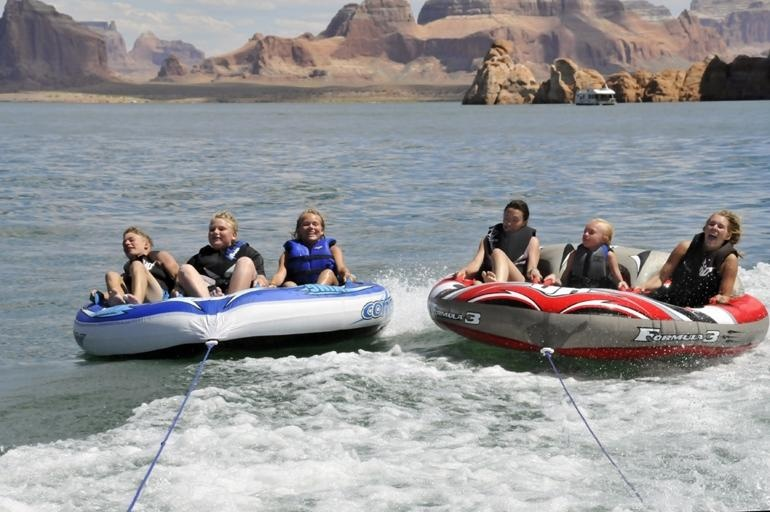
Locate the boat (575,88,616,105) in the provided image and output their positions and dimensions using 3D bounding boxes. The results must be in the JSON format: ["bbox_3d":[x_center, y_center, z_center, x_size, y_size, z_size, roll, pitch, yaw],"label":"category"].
[{"bbox_3d":[26.124,-20.369,124.571,3.186,1.279,4.707,-4,5,-19],"label":"boat"}]
